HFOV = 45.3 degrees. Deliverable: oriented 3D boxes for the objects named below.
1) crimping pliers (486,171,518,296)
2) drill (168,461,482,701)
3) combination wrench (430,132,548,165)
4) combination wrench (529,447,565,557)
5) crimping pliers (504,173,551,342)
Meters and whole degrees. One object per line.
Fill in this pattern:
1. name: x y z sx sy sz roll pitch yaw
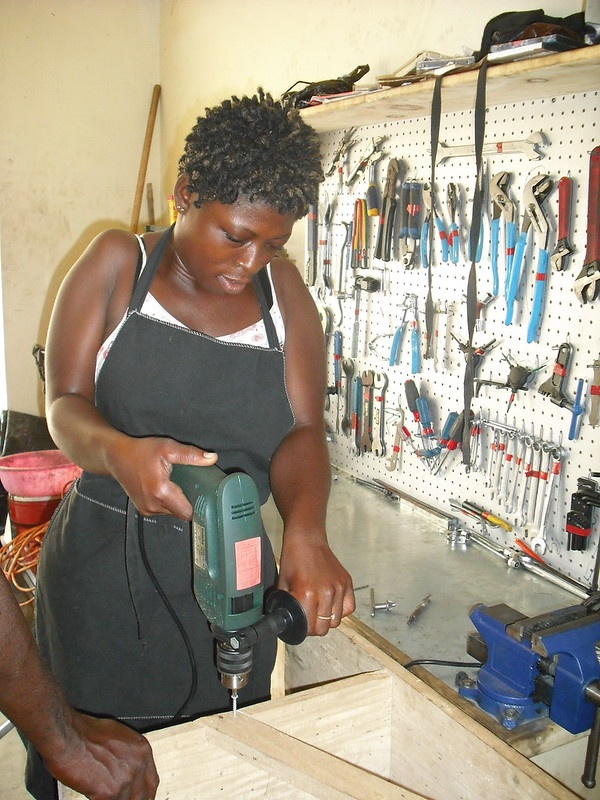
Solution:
1. crimping pliers: 0.487 -0.389 1.754 0.027 0.331 0.078 -19 29 -23
2. drill: -0.100 0.287 1.153 0.184 0.395 0.216 -4 9 -11
3. combination wrench: 0.455 -0.616 1.767 0.033 0.097 0.349 -7 10 -28
4. combination wrench: 0.558 0.243 1.703 0.048 0.251 0.044 20 21 36
5. crimping pliers: 0.528 -0.325 1.700 0.056 0.385 0.149 -4 9 -13
